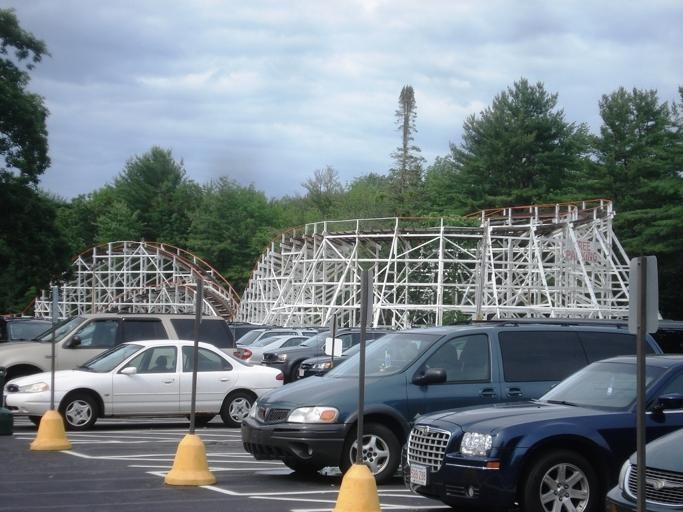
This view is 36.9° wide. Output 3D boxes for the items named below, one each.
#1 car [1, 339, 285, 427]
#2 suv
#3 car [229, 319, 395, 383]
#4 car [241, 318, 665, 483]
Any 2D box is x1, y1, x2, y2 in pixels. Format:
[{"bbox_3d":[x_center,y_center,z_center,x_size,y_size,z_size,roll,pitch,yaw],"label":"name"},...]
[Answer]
[{"bbox_3d":[-3.905,2.542,20.161,5.075,1.451,2.089,3,-7,-17],"label":"car"},{"bbox_3d":[-4.893,1.996,22.433,4.250,1.391,1.949,1,-4,-15],"label":"suv"},{"bbox_3d":[-0.928,2.495,27.205,3.883,1.253,1.669,1,-3,-11],"label":"car"},{"bbox_3d":[1.641,2.134,15.449,5.799,1.832,2.504,3,-6,-18],"label":"car"}]
